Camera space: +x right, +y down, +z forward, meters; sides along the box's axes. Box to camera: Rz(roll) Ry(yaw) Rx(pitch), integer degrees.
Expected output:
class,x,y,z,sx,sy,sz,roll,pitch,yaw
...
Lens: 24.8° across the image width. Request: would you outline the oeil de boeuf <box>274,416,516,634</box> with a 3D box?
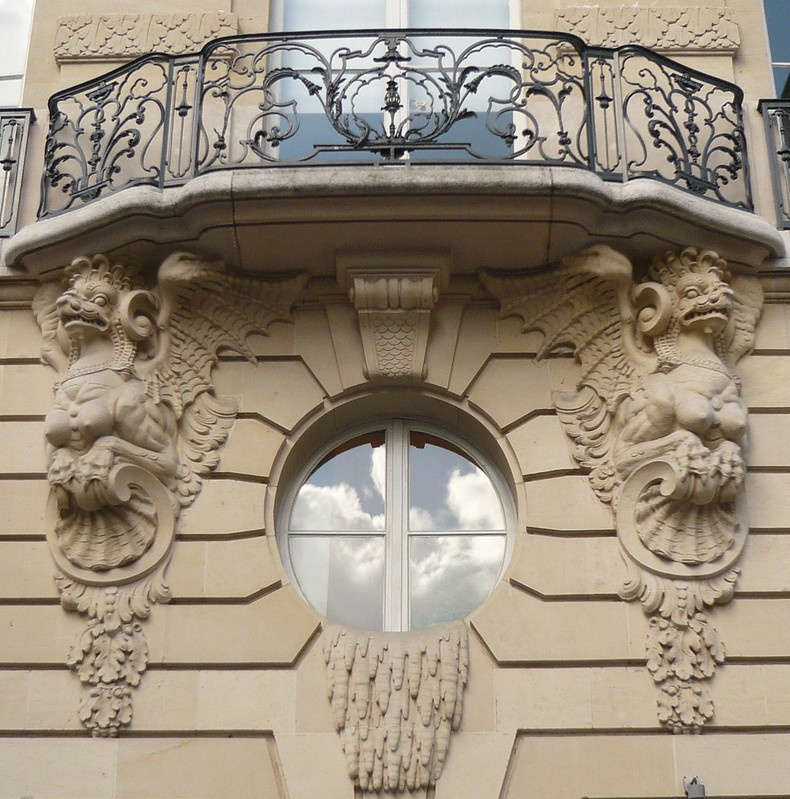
class,x,y,z,sx,sy,sz,roll,pitch,yaw
oeil de boeuf,0.007,0.962,12.773,1.748,1.812,0.073,2,-36,1
